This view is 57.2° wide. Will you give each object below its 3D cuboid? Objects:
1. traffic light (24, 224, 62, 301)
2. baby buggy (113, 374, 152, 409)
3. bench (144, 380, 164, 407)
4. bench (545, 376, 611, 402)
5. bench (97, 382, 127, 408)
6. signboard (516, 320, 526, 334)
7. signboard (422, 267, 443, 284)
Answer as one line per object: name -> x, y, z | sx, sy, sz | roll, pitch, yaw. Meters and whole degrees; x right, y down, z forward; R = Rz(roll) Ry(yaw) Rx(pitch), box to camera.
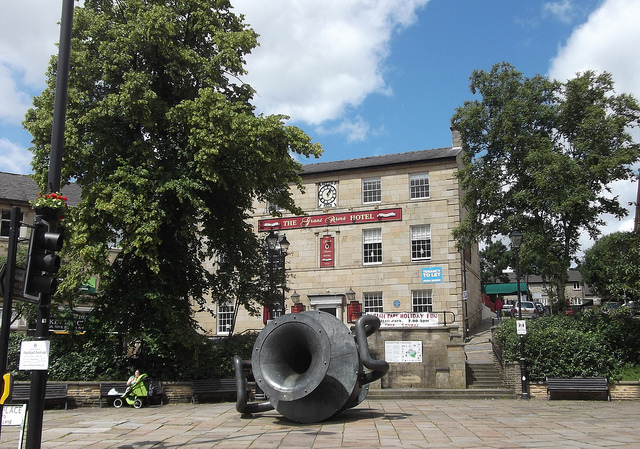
traffic light -> -7.092, 0.900, 15.147 | 0.768, 1.917, 0.654 | 9, -2, -23
baby buggy -> -7.848, 6.781, 24.350 | 1.378, 1.237, 0.937 | 1, -2, -7
bench -> -6.993, 7.096, 24.800 | 1.214, 1.113, 0.812 | 1, -7, -11
bench -> 11.455, 7.259, 26.020 | 2.638, 1.032, 0.440 | 0, 0, 10
bench -> -8.522, 7.026, 24.387 | 0.979, 0.669, 0.419 | 0, -24, -5
signboard -> 9.240, 4.674, 26.911 | 0.339, 0.651, 0.604 | 0, -1, 15
signboard -> 7.423, 3.304, 38.360 | 1.098, 0.797, 0.046 | -3, -19, 22
